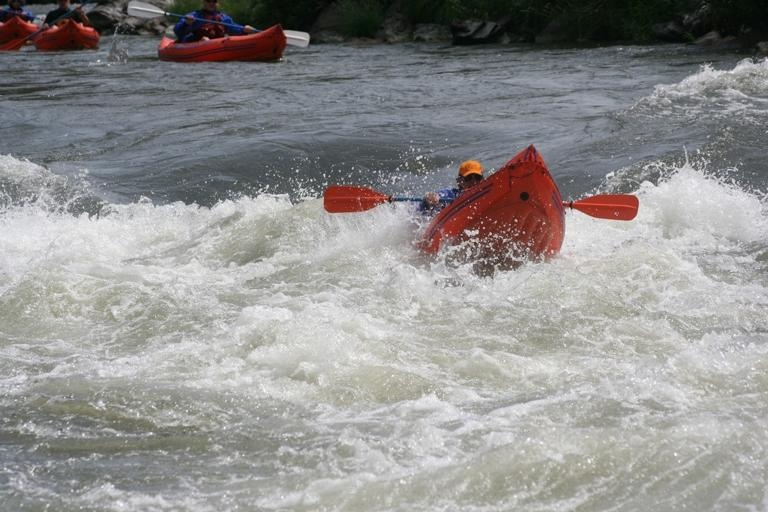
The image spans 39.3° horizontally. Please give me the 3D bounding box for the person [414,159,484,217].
[{"bbox_3d":[1.030,-0.987,16.288,0.648,0.336,1.538,3,-16,-7],"label":"person"}]

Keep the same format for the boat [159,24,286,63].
[{"bbox_3d":[-3.953,-5.221,26.898,2.814,0.674,1.155,-5,13,1],"label":"boat"}]

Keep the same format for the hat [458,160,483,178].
[{"bbox_3d":[1.249,-1.301,15.743,0.313,0.170,0.367,0,3,-5],"label":"hat"}]

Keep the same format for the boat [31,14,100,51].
[{"bbox_3d":[-8.966,-6.304,30.464,0.987,0.910,1.523,15,18,25],"label":"boat"}]
